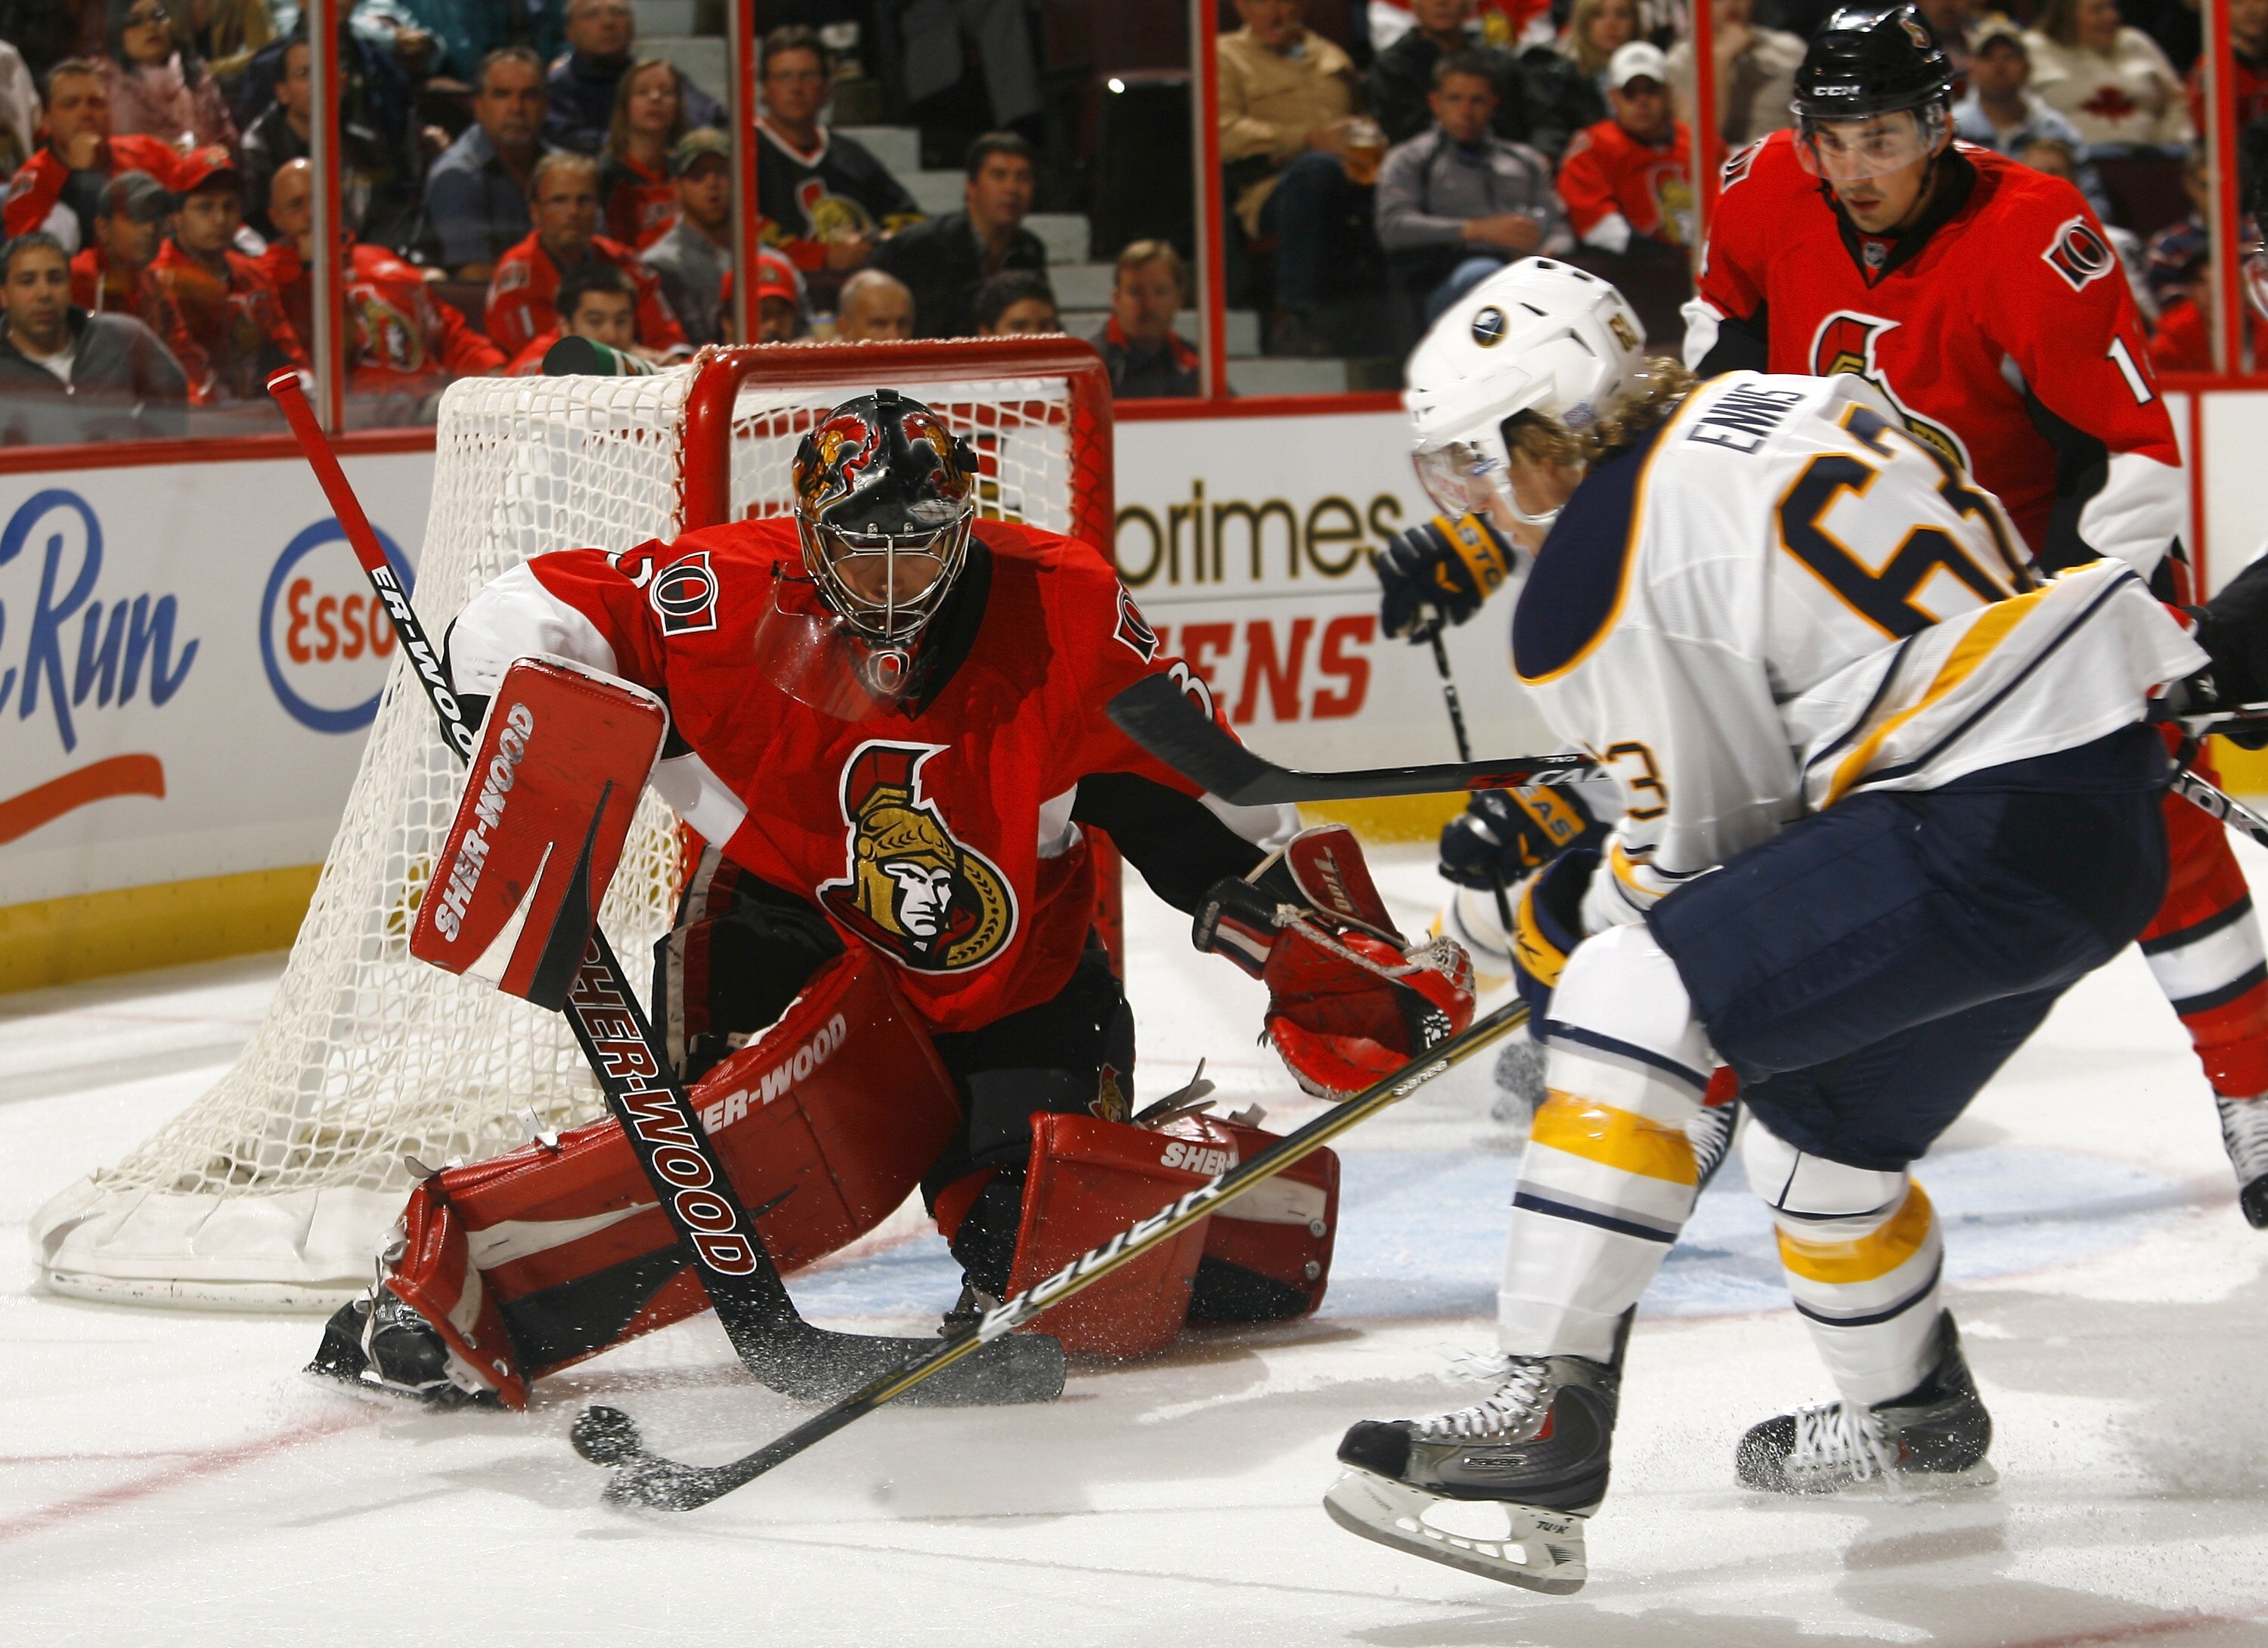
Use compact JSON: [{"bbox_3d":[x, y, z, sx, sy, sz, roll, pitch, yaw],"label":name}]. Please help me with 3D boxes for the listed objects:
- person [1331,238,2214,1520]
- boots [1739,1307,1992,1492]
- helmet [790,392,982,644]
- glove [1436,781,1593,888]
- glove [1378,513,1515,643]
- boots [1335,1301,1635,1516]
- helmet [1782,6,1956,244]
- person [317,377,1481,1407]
[{"bbox_3d":[0.678,0.119,3.177,0.814,1.368,0.594,0,13,9],"label":"person"},{"bbox_3d":[0.847,0.648,3.544,0.378,0.203,0.128,-4,21,10],"label":"boots"},{"bbox_3d":[-0.258,-0.383,3.851,0.263,0.261,0.293,-1,40,-2],"label":"helmet"},{"bbox_3d":[0.525,0.013,4.308,0.194,0.082,0.133,-19,27,7],"label":"glove"},{"bbox_3d":[0.445,-0.366,4.375,0.231,0.091,0.154,-4,-28,-33],"label":"glove"},{"bbox_3d":[0.352,0.578,3.114,0.353,0.215,0.104,10,-6,-27],"label":"boots"},{"bbox_3d":[0.990,-0.928,4.119,0.198,0.307,0.289,2,13,15],"label":"helmet"},{"bbox_3d":[-0.316,0.103,3.918,1.509,1.092,0.899,-1,3,-17],"label":"person"}]
